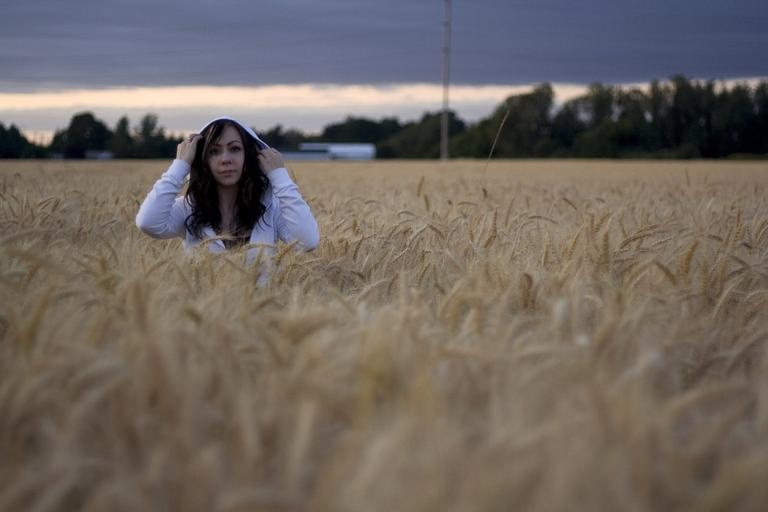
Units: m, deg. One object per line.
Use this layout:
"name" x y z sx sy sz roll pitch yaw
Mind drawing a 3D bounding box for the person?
"person" -0.581 -0.171 3.136 0.471 0.840 0.264 1 -21 -10
